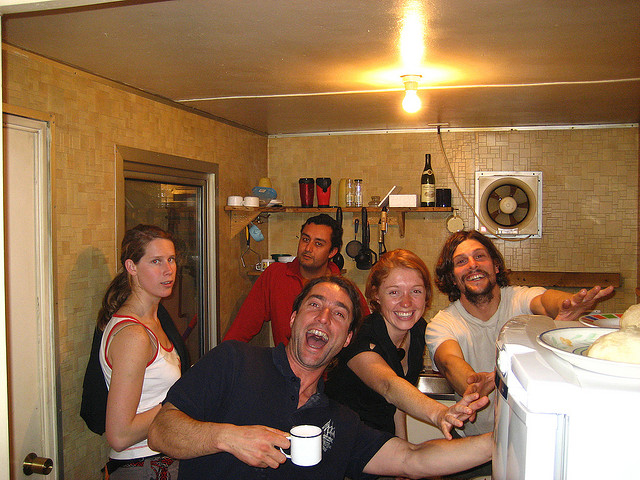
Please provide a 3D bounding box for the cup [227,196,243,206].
[{"bbox_3d":[-0.627,-0.284,3.777,0.074,0.056,0.074,0,-2,0],"label":"cup"}]

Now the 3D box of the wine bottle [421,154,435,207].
[{"bbox_3d":[0.863,-0.471,4.067,0.103,0.424,0.197,0,3,13],"label":"wine bottle"}]

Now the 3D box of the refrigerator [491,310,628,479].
[{"bbox_3d":[0.557,0.250,1.319,0.264,0.487,0.499,3,-2,13],"label":"refrigerator"}]

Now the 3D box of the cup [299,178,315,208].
[{"bbox_3d":[-0.107,-0.381,4.165,0.124,0.243,0.102,-1,3,-1],"label":"cup"}]

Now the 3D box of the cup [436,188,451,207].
[{"bbox_3d":[0.976,-0.328,4.005,0.124,0.143,0.127,0,2,0],"label":"cup"}]

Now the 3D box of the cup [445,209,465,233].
[{"bbox_3d":[1.090,-0.148,4.113,0.153,0.186,0.102,0,4,16],"label":"cup"}]

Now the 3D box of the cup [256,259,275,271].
[{"bbox_3d":[-0.440,0.200,4.080,0.134,0.095,0.082,0,-5,28],"label":"cup"}]

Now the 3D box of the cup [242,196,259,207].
[{"bbox_3d":[-0.527,-0.283,3.863,0.125,0.076,0.137,-1,3,0],"label":"cup"}]

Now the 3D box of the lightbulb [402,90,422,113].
[{"bbox_3d":[0.529,-0.769,2.889,0.112,0.153,0.113,-2,2,-16],"label":"lightbulb"}]

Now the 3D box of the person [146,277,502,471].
[{"bbox_3d":[-0.071,0.535,1.824,1.039,0.707,0.648,-2,4,-21],"label":"person"}]

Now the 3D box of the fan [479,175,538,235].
[{"bbox_3d":[1.512,-0.272,4.023,0.452,0.472,0.171,0,5,12],"label":"fan"}]

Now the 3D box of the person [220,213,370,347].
[{"bbox_3d":[-0.180,0.248,3.266,1.012,1.063,0.306,4,0,5],"label":"person"}]

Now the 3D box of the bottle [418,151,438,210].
[{"bbox_3d":[0.866,-0.477,4.060,0.156,0.474,0.284,0,3,10],"label":"bottle"}]

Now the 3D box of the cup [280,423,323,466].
[{"bbox_3d":[-0.078,0.664,1.653,0.152,0.104,0.096,1,4,5],"label":"cup"}]

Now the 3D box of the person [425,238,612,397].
[{"bbox_3d":[0.892,0.324,2.315,0.669,0.849,0.609,-5,-21,-3],"label":"person"}]

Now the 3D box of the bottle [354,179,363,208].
[{"bbox_3d":[0.321,-0.388,4.235,0.071,0.226,0.159,-1,3,4],"label":"bottle"}]
